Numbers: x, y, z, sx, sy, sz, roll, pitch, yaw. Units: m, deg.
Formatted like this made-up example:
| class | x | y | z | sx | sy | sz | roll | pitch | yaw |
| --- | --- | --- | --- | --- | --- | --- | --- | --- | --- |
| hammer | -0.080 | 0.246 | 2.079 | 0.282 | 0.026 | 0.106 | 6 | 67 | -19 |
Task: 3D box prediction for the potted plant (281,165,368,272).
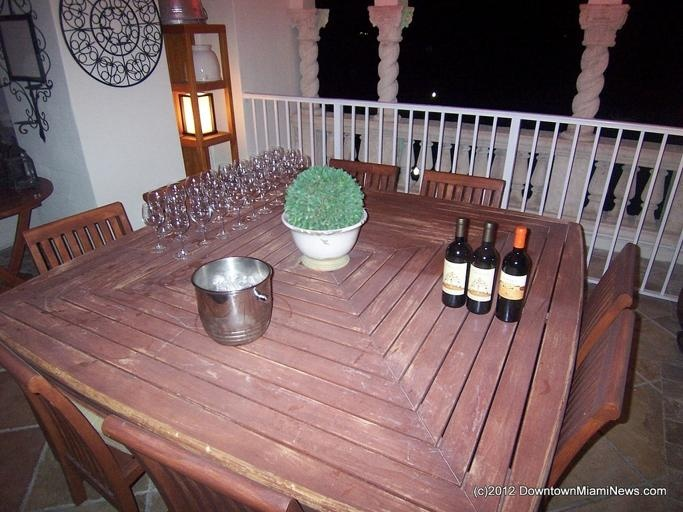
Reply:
| class | x | y | z | sx | sy | sz | roll | pitch | yaw |
| --- | --- | --- | --- | --- | --- | --- | --- | --- | --- |
| potted plant | -0.072 | -0.173 | 1.925 | 0.405 | 0.438 | 0.398 | -16 | 28 | -33 |
